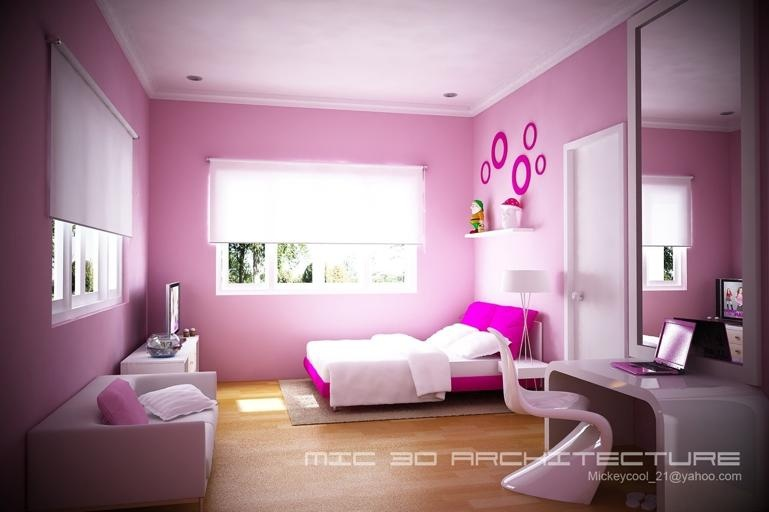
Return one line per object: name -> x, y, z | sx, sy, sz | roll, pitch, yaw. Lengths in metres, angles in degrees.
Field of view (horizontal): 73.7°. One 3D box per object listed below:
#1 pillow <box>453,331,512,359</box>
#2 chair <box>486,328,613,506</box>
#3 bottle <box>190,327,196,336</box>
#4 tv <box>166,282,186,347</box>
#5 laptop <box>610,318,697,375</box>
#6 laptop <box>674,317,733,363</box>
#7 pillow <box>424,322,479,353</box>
pillow -> 1.110, 1.020, 5.784 | 0.559, 0.166, 0.556 | -14, 2, -26
chair -> 1.526, 1.345, 4.473 | 1.198, 1.613, 0.924 | -1, -5, 1
bottle -> -2.300, 0.902, 6.140 | 0.072, 0.082, 0.073 | 1, -3, -2
tv -> -2.345, 0.661, 5.734 | 0.188, 0.471, 0.661 | 0, 1, -17
laptop -> 2.021, 0.625, 3.873 | 0.395, 0.326, 0.452 | -2, -2, -3
laptop -> 2.340, 0.606, 3.731 | 0.245, 0.213, 0.302 | 3, -3, -4
pillow -> 0.757, 0.980, 6.239 | 0.360, 0.099, 0.332 | -27, 8, -17
